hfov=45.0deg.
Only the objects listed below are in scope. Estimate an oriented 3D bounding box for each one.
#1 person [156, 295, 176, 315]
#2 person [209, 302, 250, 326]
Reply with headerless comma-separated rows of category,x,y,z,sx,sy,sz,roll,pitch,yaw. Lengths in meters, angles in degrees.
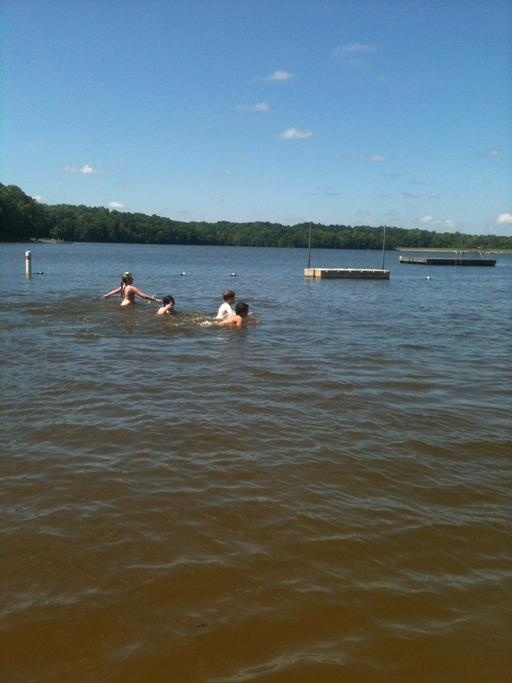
person,-2.885,-1.166,19.669,0.567,0.549,1.202,0,10,-9
person,-0.712,-0.873,18.580,0.902,0.664,1.616,3,10,8
